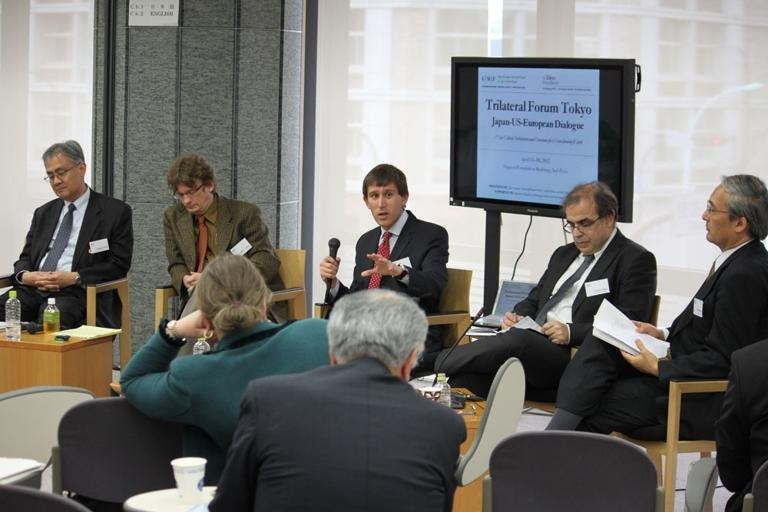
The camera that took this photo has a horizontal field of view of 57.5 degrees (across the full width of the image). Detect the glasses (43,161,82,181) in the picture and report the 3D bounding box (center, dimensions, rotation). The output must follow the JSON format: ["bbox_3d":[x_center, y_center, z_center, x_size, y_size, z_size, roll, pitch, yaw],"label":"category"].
[{"bbox_3d":[-2.408,-0.666,5.252,0.164,0.052,0.169,-17,13,35],"label":"glasses"}]

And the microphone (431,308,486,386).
[{"bbox_3d":[0.461,0.588,4.434,0.163,0.506,0.118,25,-29,25],"label":"microphone"}]

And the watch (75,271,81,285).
[{"bbox_3d":[-2.254,0.171,5.143,0.049,0.074,0.067,-4,-9,-15],"label":"watch"}]

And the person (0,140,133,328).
[{"bbox_3d":[-2.410,-0.180,5.251,0.883,1.349,0.532,2,5,6],"label":"person"}]

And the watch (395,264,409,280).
[{"bbox_3d":[0.113,0.107,4.579,0.065,0.095,0.039,-3,2,1],"label":"watch"}]

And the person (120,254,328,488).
[{"bbox_3d":[-0.651,0.448,2.869,0.595,0.976,0.549,-10,29,-18],"label":"person"}]

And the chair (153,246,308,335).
[{"bbox_3d":[-1.130,0.192,5.254,0.722,1.030,0.732,-1,-2,11],"label":"chair"}]

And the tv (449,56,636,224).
[{"bbox_3d":[1.060,-0.791,4.627,1.093,0.833,0.149,5,6,33],"label":"tv"}]

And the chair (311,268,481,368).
[{"bbox_3d":[0.173,0.411,4.964,0.727,1.035,0.636,3,-3,-40],"label":"chair"}]

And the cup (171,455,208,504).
[{"bbox_3d":[-0.683,0.781,2.456,0.129,0.134,0.131,0,2,0],"label":"cup"}]

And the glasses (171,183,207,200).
[{"bbox_3d":[-1.395,-0.456,5.034,0.201,0.102,0.079,2,5,1],"label":"glasses"}]

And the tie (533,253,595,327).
[{"bbox_3d":[1.170,0.235,4.525,0.097,0.518,0.067,42,5,35],"label":"tie"}]
